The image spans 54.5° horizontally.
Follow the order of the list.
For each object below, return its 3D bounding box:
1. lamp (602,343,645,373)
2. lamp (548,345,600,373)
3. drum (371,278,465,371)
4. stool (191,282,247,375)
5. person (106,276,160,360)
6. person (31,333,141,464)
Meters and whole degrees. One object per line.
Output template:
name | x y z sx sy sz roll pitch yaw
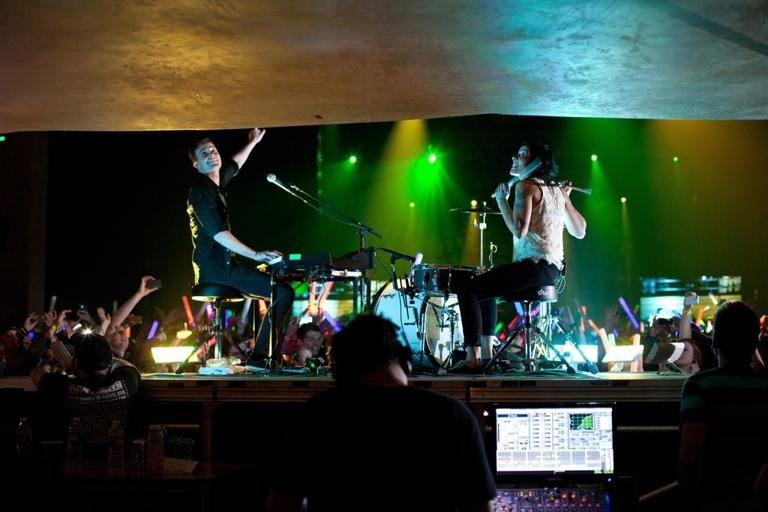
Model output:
lamp | 2.225 0.957 6.937 0.443 0.289 0.289 -11 -18 23
lamp | 1.583 0.854 6.202 0.393 0.099 0.411 15 -1 -22
drum | 0.327 0.681 7.582 0.826 1.131 1.189 -4 -9 41
stool | -1.373 0.600 6.207 0.530 0.671 0.557 -8 -12 31
person | -3.219 0.798 9.506 0.430 0.295 1.138 3 -20 -30
person | -2.063 1.031 5.295 0.577 1.066 0.717 23 24 39
